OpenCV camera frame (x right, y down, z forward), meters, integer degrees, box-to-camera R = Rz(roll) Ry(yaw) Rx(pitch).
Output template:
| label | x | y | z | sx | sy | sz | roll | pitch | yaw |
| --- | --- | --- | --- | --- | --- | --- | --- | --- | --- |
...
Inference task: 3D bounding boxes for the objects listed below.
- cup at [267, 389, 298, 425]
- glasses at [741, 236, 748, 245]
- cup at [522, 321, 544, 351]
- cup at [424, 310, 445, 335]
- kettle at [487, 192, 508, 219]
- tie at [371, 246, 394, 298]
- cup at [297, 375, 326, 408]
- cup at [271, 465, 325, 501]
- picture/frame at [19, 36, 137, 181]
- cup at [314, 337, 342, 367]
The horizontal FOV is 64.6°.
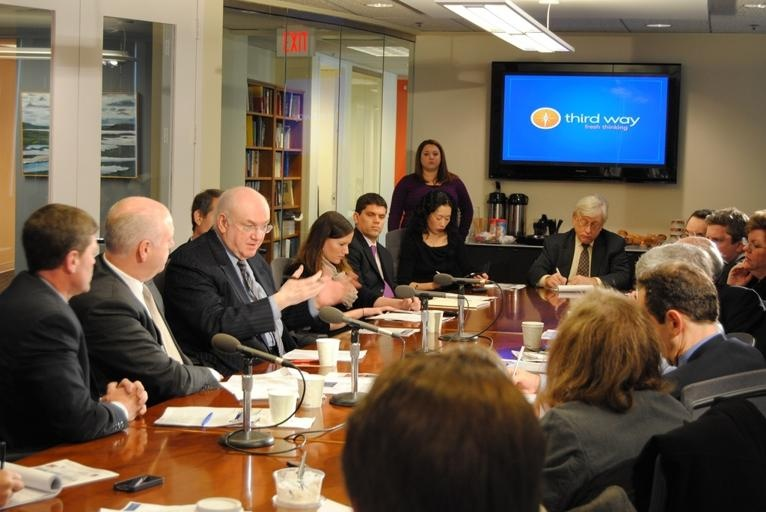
| label | x | y | z | sx | sy | sz | roll | pitch | yaw |
| --- | --- | --- | --- | --- | --- | --- | --- | --- | --- |
| cup | -0.345 | 0.520 | 2.102 | 0.115 | 0.095 | 0.095 | 4 | 2 | -3 |
| glasses | 2.486 | -0.110 | 4.172 | 0.047 | 0.061 | 0.030 | 0 | 13 | 15 |
| cup | 0.774 | 0.413 | 3.129 | 0.134 | 0.144 | 0.132 | 1 | -2 | 0 |
| cup | 0.302 | 0.385 | 3.562 | 0.116 | 0.128 | 0.124 | 1 | -3 | 0 |
| kettle | 1.417 | -0.627 | 7.524 | 0.301 | 0.405 | 0.269 | 2 | 2 | 12 |
| tie | -0.035 | 0.121 | 4.899 | 0.118 | 0.364 | 0.269 | -8 | 5 | 24 |
| cup | -0.261 | 0.508 | 2.270 | 0.119 | 0.099 | 0.098 | 3 | -2 | -7 |
| cup | -0.230 | 0.599 | 1.634 | 0.102 | 0.047 | 0.097 | 2 | -6 | 0 |
| picture/frame | -2.330 | -1.123 | 4.714 | 0.087 | 1.035 | 0.881 | 11 | 11 | 42 |
| cup | -0.247 | 0.447 | 2.836 | 0.115 | 0.114 | 0.118 | -1 | -1 | 0 |
